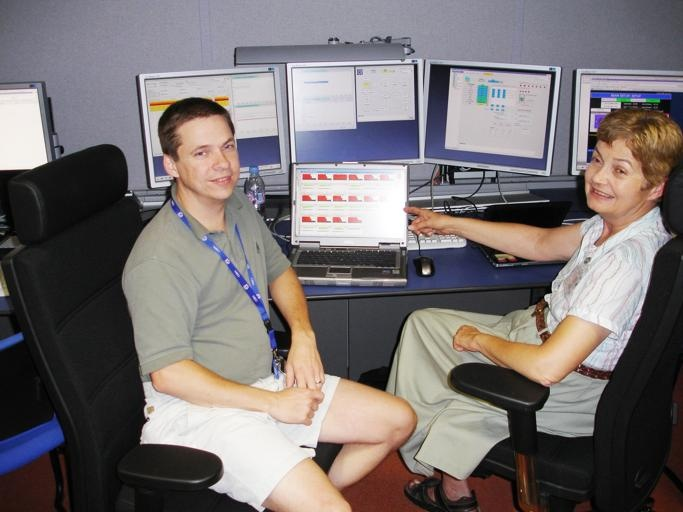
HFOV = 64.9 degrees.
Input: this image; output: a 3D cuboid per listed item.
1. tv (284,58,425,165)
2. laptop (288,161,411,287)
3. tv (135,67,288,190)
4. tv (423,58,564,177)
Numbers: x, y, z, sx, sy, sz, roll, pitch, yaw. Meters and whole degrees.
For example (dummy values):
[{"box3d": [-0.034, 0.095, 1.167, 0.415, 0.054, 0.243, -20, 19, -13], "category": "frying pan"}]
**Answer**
[{"box3d": [0.055, -0.723, 2.599, 0.562, 0.430, 0.023, -2, 12, -5], "category": "tv"}, {"box3d": [0.029, -0.139, 2.219, 0.538, 0.421, 0.471, -2, 21, -3], "category": "laptop"}, {"box3d": [-0.532, -0.556, 2.253, 0.707, 0.584, 0.063, -8, 20, -11], "category": "tv"}, {"box3d": [0.715, -0.682, 2.590, 0.626, 0.481, 0.064, 8, 19, 17], "category": "tv"}]
